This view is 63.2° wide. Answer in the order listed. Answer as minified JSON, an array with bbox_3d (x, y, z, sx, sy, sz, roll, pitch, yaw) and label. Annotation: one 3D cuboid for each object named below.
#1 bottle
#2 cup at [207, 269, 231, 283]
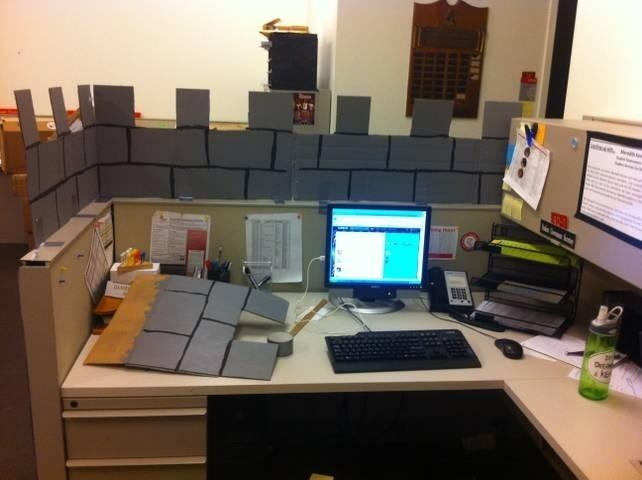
[{"bbox_3d":[0.969,0.386,1.803,0.116,0.329,0.097,0,18,6],"label":"bottle"},{"bbox_3d":[-0.443,0.156,2.277,0.068,0.073,0.054,4,0,25],"label":"cup"}]
